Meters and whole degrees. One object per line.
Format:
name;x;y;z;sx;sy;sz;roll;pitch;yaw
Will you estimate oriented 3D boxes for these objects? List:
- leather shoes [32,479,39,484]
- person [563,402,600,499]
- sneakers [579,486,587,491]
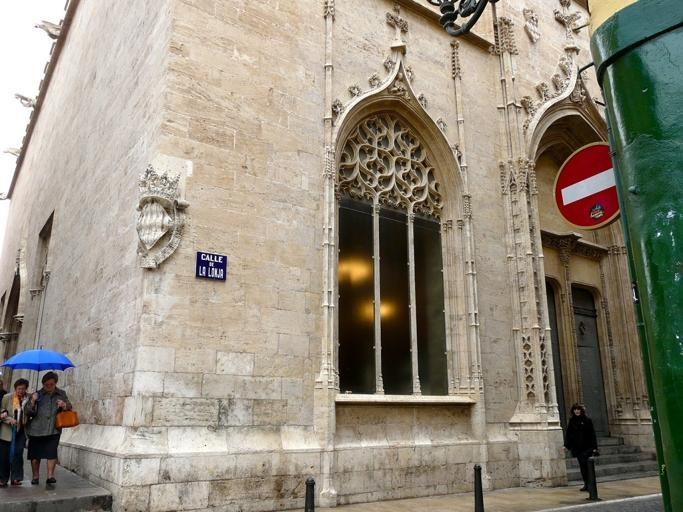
leather shoes;-5.480;4.011;10.013;0.144;0.092;0.078;2;-4;-18
person;5.522;4.385;12.967;0.666;1.915;0.973;-9;-23;20
sneakers;5.356;5.150;12.441;0.148;0.109;0.332;-9;-23;19
